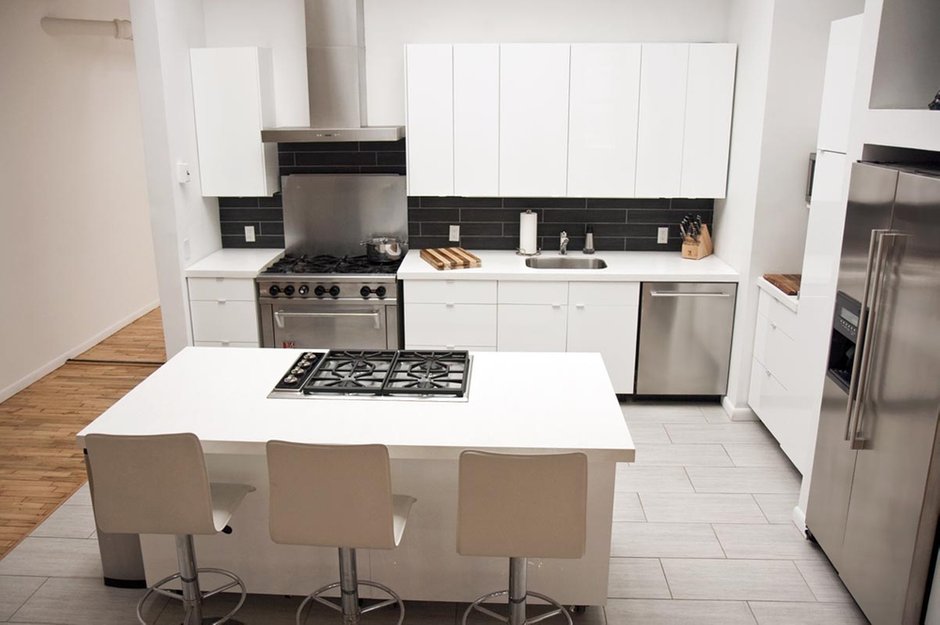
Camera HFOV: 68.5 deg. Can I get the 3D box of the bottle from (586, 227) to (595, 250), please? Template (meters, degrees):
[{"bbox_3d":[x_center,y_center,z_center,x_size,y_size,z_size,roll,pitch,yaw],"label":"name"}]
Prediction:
[{"bbox_3d":[1.051,-0.638,6.043,0.078,0.203,0.181,3,16,11],"label":"bottle"}]

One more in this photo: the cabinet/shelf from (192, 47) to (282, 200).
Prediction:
[{"bbox_3d":[-1.923,-1.557,5.672,0.654,1.166,0.298,-6,18,-18],"label":"cabinet/shelf"}]

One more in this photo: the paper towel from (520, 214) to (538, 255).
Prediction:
[{"bbox_3d":[0.514,-0.701,6.019,0.157,0.373,0.212,1,16,5],"label":"paper towel"}]

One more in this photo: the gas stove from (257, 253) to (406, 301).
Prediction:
[{"bbox_3d":[-1.123,-0.308,5.823,1.113,0.255,0.644,1,15,3],"label":"gas stove"}]

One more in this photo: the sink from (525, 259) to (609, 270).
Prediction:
[{"bbox_3d":[0.819,-0.424,5.949,0.665,0.103,0.189,0,15,3],"label":"sink"}]

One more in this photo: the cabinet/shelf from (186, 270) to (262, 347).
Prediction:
[{"bbox_3d":[-2.019,-0.050,5.857,0.631,0.820,0.532,0,7,-1],"label":"cabinet/shelf"}]

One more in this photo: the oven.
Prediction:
[{"bbox_3d":[-1.131,0.116,5.645,0.757,0.492,0.496,0,12,1],"label":"oven"}]

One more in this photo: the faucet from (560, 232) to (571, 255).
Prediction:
[{"bbox_3d":[0.832,-0.617,6.043,0.084,0.184,0.223,2,16,7],"label":"faucet"}]

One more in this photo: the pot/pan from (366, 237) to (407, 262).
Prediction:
[{"bbox_3d":[-0.724,-0.532,5.936,0.298,0.106,0.211,5,22,12],"label":"pot/pan"}]

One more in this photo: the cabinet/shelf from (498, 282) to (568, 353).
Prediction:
[{"bbox_3d":[0.493,-0.056,5.850,0.732,0.679,0.517,0,9,3],"label":"cabinet/shelf"}]

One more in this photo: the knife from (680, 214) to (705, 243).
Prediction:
[{"bbox_3d":[1.872,-0.710,5.892,0.119,0.150,0.353,3,23,17],"label":"knife"}]
